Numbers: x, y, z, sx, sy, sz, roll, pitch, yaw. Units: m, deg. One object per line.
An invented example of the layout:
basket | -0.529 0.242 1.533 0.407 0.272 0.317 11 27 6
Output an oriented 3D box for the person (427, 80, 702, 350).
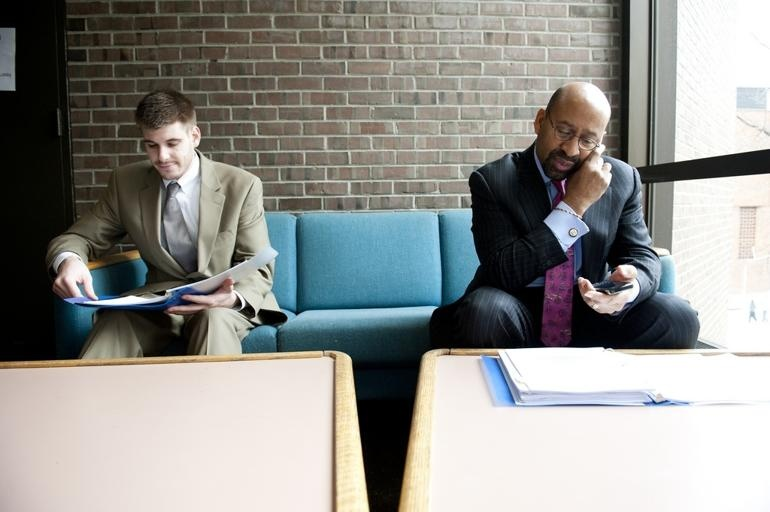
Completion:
person | 0.683 -0.063 2.592 0.899 1.142 1.016 -3 13 -3

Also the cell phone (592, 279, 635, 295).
cell phone | 0.783 0.106 2.212 0.080 0.080 0.076 -3 -1 -28

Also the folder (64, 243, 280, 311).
folder | -0.756 0.090 2.298 0.748 0.214 0.200 -2 6 -4

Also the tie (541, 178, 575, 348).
tie | 0.671 0.031 2.481 0.111 0.627 0.171 1 6 25

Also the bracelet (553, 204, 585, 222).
bracelet | 0.692 -0.148 2.393 0.073 0.039 0.063 29 -7 -16

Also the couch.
couch | -0.075 0.252 3.164 2.450 0.884 0.791 -1 9 6
